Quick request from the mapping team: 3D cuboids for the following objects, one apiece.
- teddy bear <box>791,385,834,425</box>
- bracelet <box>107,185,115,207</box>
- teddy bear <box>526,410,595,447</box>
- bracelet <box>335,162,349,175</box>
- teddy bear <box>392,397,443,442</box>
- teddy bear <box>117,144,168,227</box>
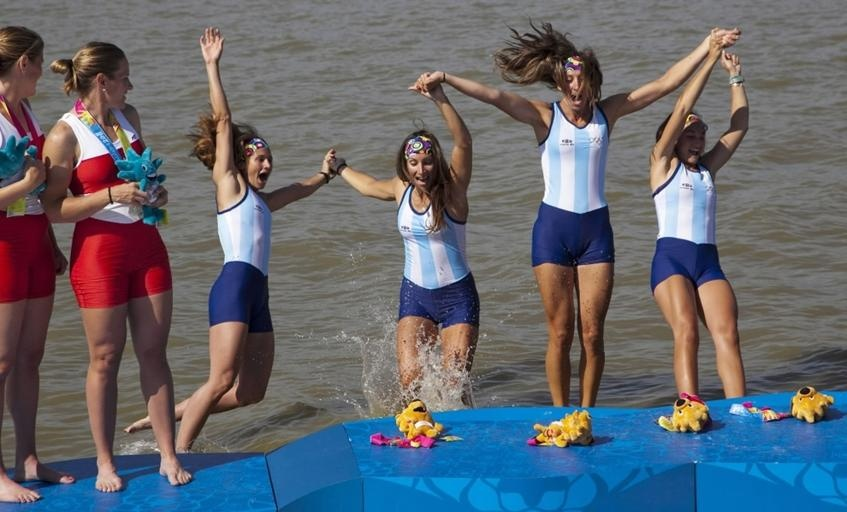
[{"bbox_3d":[4.209,1.624,16.312,0.466,0.345,0.333,-3,17,8],"label":"teddy bear"},{"bbox_3d":[-3.195,-0.617,15.479,0.049,0.163,0.056,-10,19,-8],"label":"bracelet"},{"bbox_3d":[1.454,1.881,16.109,0.626,0.209,0.413,-3,4,8],"label":"teddy bear"},{"bbox_3d":[-0.896,-1.011,17.586,0.094,0.152,0.123,25,10,-24],"label":"bracelet"},{"bbox_3d":[-0.046,1.782,16.247,0.621,0.400,0.461,4,-12,-43],"label":"teddy bear"},{"bbox_3d":[-2.886,-0.711,15.638,0.468,0.852,0.335,-9,18,-8],"label":"teddy bear"}]
